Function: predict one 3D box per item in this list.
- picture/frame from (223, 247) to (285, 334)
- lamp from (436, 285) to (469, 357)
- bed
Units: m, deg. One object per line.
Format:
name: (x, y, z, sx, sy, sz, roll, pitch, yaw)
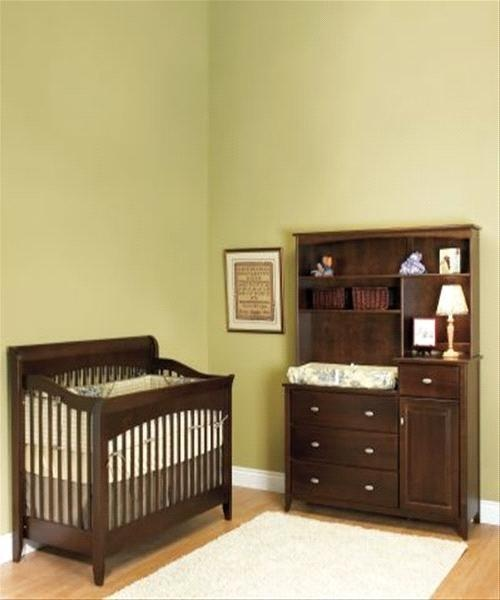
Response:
picture/frame: (0.046, -0.073, 4.243, 0.596, 0.781, 0.037, 1, 4, 32)
lamp: (1.163, 0.113, 3.380, 0.172, 0.430, 0.415, -1, -3, 17)
bed: (-0.578, 0.710, 3.311, 0.926, 1.347, 1.418, 0, 2, 34)
